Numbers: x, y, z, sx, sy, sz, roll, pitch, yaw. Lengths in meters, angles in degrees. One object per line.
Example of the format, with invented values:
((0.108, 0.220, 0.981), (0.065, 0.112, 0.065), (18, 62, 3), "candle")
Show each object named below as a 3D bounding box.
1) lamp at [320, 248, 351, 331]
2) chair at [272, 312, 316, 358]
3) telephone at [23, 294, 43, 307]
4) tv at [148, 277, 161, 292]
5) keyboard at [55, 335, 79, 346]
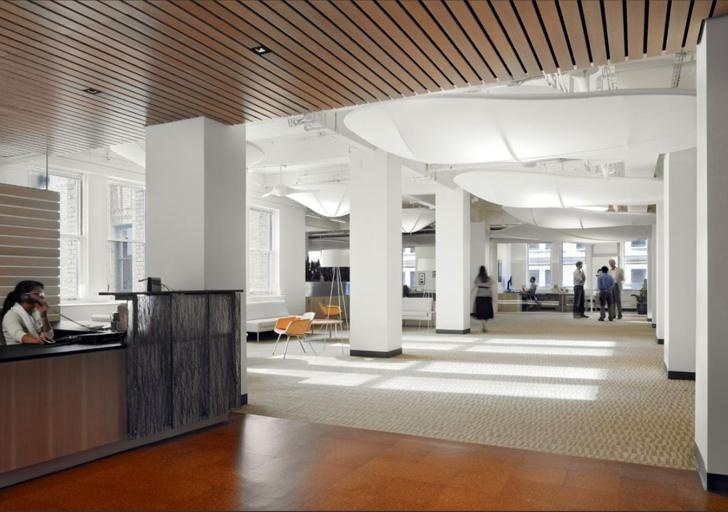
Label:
((-1.309, 1.168, 22.876), (0.897, 2.542, 0.843), (4, 14, 15), "lamp")
((-1.638, 1.809, 10.926), (0.956, 0.912, 0.909), (-1, -2, 8), "chair")
((-3.997, 0.536, 5.664), (0.185, 0.067, 0.133), (5, 1, 22), "telephone")
((-2.540, 0.348, 5.682), (0.146, 0.232, 0.125), (1, 11, 0), "tv")
((-3.194, 0.899, 5.054), (0.211, 0.061, 0.619), (-1, -3, -33), "keyboard")
